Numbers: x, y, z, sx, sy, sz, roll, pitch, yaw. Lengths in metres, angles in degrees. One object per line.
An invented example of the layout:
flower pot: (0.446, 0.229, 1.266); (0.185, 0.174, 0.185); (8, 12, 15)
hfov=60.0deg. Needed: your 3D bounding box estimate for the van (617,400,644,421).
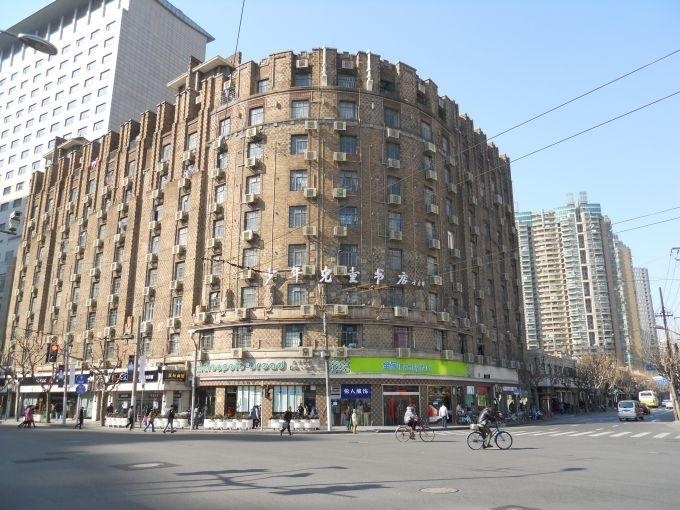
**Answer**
van: (30.134, 16.192, 61.444); (2.029, 1.693, 4.252); (-5, -8, 28)
